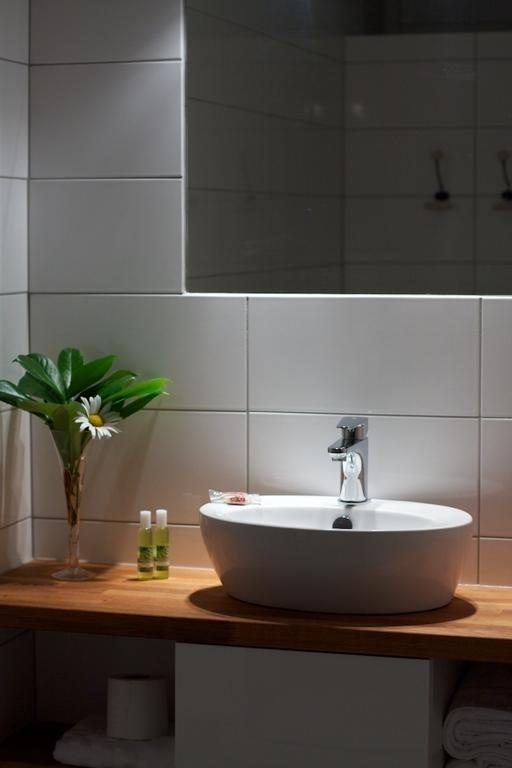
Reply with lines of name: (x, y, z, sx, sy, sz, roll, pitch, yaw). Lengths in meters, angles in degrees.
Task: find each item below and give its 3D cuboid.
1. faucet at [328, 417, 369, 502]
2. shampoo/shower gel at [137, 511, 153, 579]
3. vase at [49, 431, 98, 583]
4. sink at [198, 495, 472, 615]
faucet: (0.183, 0.146, 1.318, 0.067, 0.170, 0.206, 1, -4, 10)
shampoo/shower gel: (-0.235, 0.334, 1.455, 0.036, 0.135, 0.147, 2, -4, -9)
vase: (-0.390, 0.254, 1.450, 0.092, 0.306, 0.182, 3, -4, -12)
sink: (0.127, 0.303, 1.200, 0.481, 0.171, 0.367, 0, -5, 17)
